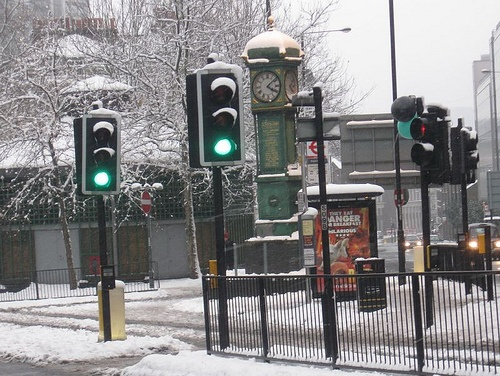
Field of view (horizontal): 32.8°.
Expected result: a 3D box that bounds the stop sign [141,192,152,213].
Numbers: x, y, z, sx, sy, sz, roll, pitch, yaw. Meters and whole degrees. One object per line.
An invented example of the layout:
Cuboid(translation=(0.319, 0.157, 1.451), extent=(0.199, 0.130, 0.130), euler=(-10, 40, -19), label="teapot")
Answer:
Cuboid(translation=(-4.088, 0.588, 33.572), extent=(0.325, 0.930, 0.743), euler=(-2, 5, -2), label="stop sign")

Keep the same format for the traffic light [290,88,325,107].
Cuboid(translation=(1.312, -2.080, 19.413), extent=(0.467, 0.327, 0.477), euler=(0, 0, 13), label="traffic light")

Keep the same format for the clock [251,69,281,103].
Cuboid(translation=(0.630, -3.698, 30.990), extent=(1.192, 1.428, 0.206), euler=(-1, -11, 11), label="clock")

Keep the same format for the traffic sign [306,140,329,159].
Cuboid(translation=(2.049, -1.226, 27.494), extent=(0.860, 0.824, 0.199), euler=(0, -4, 16), label="traffic sign")

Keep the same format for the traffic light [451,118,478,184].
Cuboid(translation=(5.630, -0.938, 22.255), extent=(0.719, 1.600, 0.593), euler=(-2, -2, 20), label="traffic light")

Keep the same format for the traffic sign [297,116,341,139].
Cuboid(translation=(1.574, -1.380, 19.438), extent=(0.657, 0.581, 1.108), euler=(1, 7, 34), label="traffic sign")
